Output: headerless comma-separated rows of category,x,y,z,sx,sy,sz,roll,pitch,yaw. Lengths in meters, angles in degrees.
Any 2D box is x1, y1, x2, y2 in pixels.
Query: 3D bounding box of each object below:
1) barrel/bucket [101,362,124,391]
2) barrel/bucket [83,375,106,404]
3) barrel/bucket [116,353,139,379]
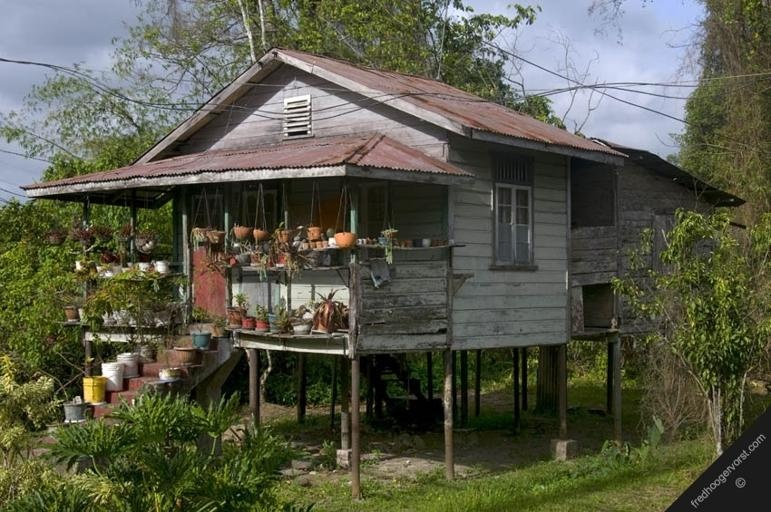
barrel/bucket,-6.783,3.042,25.086,0.614,0.685,0.627,0,-1,0
barrel/bucket,-7.087,3.340,24.741,0.582,0.602,0.568,-1,-3,0
barrel/bucket,-6.462,2.789,25.195,0.554,0.588,0.567,0,-1,0
